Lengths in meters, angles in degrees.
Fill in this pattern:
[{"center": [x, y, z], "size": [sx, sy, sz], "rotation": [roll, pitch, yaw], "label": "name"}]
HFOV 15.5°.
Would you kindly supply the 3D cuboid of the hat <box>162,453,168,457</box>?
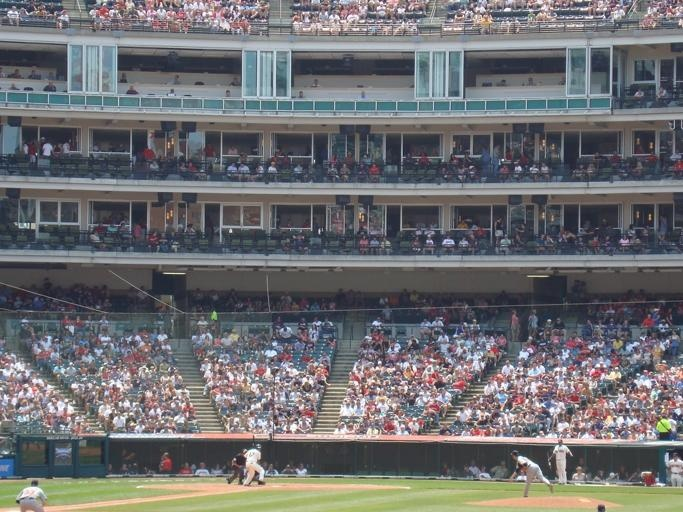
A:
[{"center": [-8.572, 9.960, 121.260], "size": [0.195, 0.178, 0.188], "rotation": [-3, -9, -13], "label": "hat"}]
